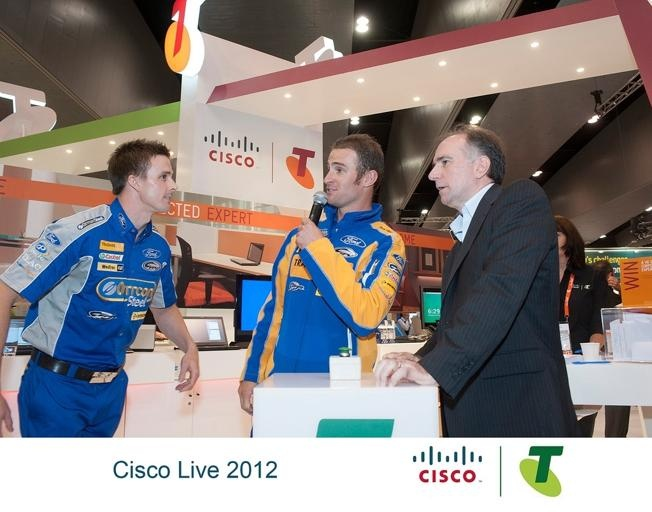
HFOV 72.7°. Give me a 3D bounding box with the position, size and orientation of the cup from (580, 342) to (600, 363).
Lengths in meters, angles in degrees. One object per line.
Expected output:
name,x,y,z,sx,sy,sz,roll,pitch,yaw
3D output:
cup,1.366,0.496,2.276,0.094,0.110,0.105,2,-16,-3

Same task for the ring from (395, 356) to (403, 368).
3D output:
ring,0.194,0.281,1.176,0.020,0.009,0.035,0,31,16

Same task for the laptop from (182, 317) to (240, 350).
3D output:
laptop,-0.872,0.565,3.392,0.418,0.253,0.314,7,-18,-43
